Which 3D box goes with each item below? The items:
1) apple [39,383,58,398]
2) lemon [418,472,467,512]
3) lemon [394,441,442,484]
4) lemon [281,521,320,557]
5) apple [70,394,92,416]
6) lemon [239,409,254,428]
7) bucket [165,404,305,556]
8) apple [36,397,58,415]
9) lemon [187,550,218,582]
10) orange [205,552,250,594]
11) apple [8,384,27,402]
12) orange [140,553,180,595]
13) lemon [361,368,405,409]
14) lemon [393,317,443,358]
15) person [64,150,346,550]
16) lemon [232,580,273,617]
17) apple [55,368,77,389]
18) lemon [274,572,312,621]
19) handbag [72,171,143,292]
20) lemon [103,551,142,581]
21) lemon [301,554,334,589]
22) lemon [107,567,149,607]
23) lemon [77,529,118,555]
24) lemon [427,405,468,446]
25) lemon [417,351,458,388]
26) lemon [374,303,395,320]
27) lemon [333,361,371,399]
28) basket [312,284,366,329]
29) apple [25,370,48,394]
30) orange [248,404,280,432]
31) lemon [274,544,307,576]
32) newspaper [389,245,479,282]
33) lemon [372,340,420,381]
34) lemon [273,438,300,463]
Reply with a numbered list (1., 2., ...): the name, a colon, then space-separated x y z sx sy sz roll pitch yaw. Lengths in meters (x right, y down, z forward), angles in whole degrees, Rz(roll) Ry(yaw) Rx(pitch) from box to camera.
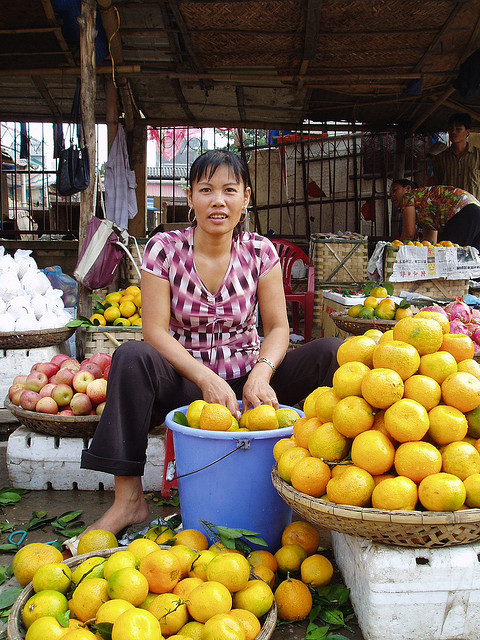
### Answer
1. apple: -0.918 0.337 2.717 0.061 0.060 0.073 12 36 35
2. lemon: 0.451 0.382 1.265 0.086 0.060 0.081 -6 1 -29
3. lemon: 0.413 0.330 1.304 0.098 0.091 0.096 0 7 3
4. lemon: 0.186 0.658 1.705 0.098 0.112 0.098 -4 -34 -3
5. apple: -0.731 0.387 2.596 0.092 0.096 0.093 -4 1 -22
6. lemon: 0.018 0.330 1.852 0.047 0.054 0.046 3 5 -3
7. bucket: -0.049 0.459 1.809 0.425 0.342 0.413 0 6 0
8. apple: -0.886 0.399 2.585 0.085 0.082 0.078 -4 22 -15
9. lemon: -0.102 0.630 1.442 0.067 0.062 0.076 31 -38 -15
10. orange: -0.023 0.617 1.405 0.106 0.097 0.103 -13 -21 4
11. apple: -1.128 0.374 2.856 0.079 0.077 0.074 4 2 -30
12. orange: -0.189 0.613 1.353 0.091 0.105 0.091 1 -17 3
13. lemon: 0.350 0.171 1.430 0.097 0.095 0.095 -14 0 1
14. lemon: 0.510 0.037 1.569 0.128 0.119 0.129 3 23 34
15. person: -0.177 0.042 2.051 0.799 1.277 0.509 -3 4 -11
16. lemon: 0.026 0.674 1.368 0.087 0.082 0.084 5 -7 -10
17. apple: -0.858 0.284 2.813 0.093 0.109 0.095 14 -31 2
18. lemon: 0.141 0.731 1.480 0.096 0.117 0.091 -14 -1 1
19. handbag: -1.017 -0.684 4.403 0.536 0.932 0.350 14 -9 -36
20. lemon: -0.293 0.595 1.379 0.068 0.067 0.064 -25 17 -30
21. lemon: 0.209 0.691 1.541 0.080 0.094 0.080 18 -49 -14
22. lemon: -0.258 0.628 1.296 0.094 0.094 0.066 -3 4 -12
23. lemon: -0.423 0.652 1.651 0.085 0.079 0.079 3 -10 -3
24. lemon: 0.506 0.261 1.374 0.099 0.095 0.094 3 -11 -16
25. lemon: 0.511 0.134 1.489 0.089 0.081 0.086 -1 -27 -2
26. lemon: 0.775 -0.031 2.999 0.083 0.082 0.085 16 -2 23
27. lemon: 0.289 0.158 1.523 0.093 0.092 0.091 -10 7 30
28. basket: 0.942 -0.172 5.740 0.444 0.576 0.621 0 4 -5
29. apple: -1.020 0.315 2.819 0.100 0.105 0.097 5 5 -22
30. orange: 0.074 0.301 1.737 0.076 0.088 0.080 3 3 2
31. lemon: 0.143 0.684 1.597 0.089 0.086 0.084 -9 -29 19
32. newspaper: 1.398 -0.399 4.024 0.388 0.158 0.378 0 4 -3
33. lemon: 0.415 0.112 1.492 0.121 0.114 0.117 -1 8 -13
34. lemon: 0.122 0.368 1.619 0.065 0.075 0.064 14 -35 -5
